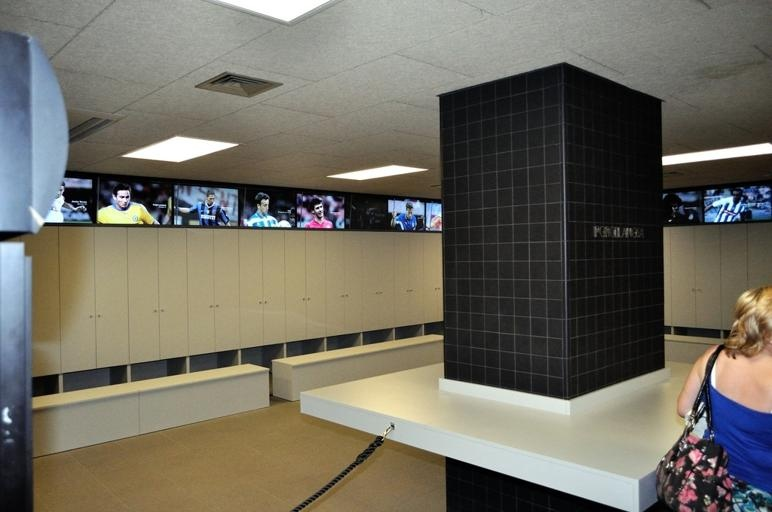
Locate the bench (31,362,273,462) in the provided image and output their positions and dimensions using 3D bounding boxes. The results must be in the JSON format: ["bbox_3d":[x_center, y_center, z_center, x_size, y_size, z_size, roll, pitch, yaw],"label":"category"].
[{"bbox_3d":[-3.137,2.059,7.514,2.862,0.648,0.554,-4,6,-36],"label":"bench"}]

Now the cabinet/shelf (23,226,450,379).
[{"bbox_3d":[-2.187,0.537,9.369,6.488,2.158,0.875,-3,6,-34],"label":"cabinet/shelf"}]
